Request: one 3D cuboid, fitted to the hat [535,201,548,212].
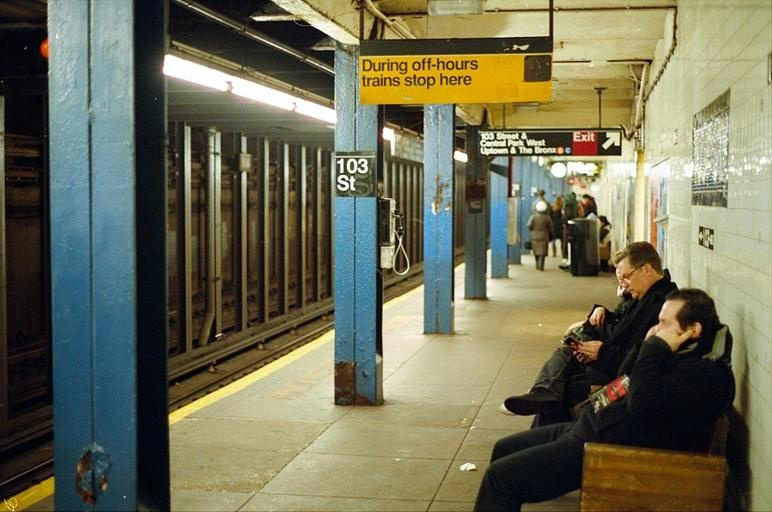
[{"bbox_3d":[4.530,-1.485,20.023,0.255,0.257,0.338,4,16,18],"label":"hat"}]

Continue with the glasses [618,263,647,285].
[{"bbox_3d":[2.005,0.139,5.714,0.175,0.165,0.055,10,-21,-12],"label":"glasses"}]

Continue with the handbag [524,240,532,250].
[{"bbox_3d":[4.201,-0.349,20.276,0.224,0.274,0.402,-1,3,19],"label":"handbag"}]

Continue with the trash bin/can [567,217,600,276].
[{"bbox_3d":[5.571,-0.345,18.665,0.943,1.550,0.934,-12,12,-40],"label":"trash bin/can"}]
